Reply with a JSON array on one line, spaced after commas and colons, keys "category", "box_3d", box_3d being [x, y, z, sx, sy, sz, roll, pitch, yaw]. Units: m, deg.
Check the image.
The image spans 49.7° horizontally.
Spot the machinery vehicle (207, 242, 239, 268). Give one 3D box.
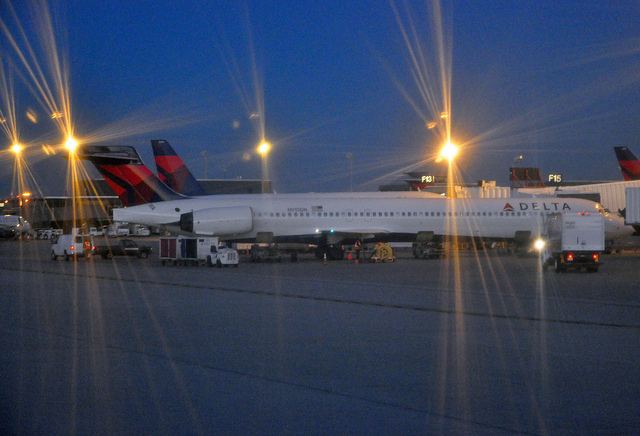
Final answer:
[{"category": "machinery vehicle", "box_3d": [-4.427, 1.864, 32.148, 0.898, 0.809, 1.427, 0, 3, -40]}]

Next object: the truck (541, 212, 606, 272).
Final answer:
[{"category": "truck", "box_3d": [10.260, 0.992, 28.175, 1.890, 2.560, 2.492, 0, 9, 5]}]

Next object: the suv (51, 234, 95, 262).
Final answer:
[{"category": "suv", "box_3d": [-13.335, 1.641, 37.395, 2.846, 1.427, 0.978, 4, 10, 26]}]

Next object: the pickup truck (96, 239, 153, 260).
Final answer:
[{"category": "pickup truck", "box_3d": [-11.415, 1.842, 40.117, 2.692, 0.923, 1.307, -1, 2, -9]}]
